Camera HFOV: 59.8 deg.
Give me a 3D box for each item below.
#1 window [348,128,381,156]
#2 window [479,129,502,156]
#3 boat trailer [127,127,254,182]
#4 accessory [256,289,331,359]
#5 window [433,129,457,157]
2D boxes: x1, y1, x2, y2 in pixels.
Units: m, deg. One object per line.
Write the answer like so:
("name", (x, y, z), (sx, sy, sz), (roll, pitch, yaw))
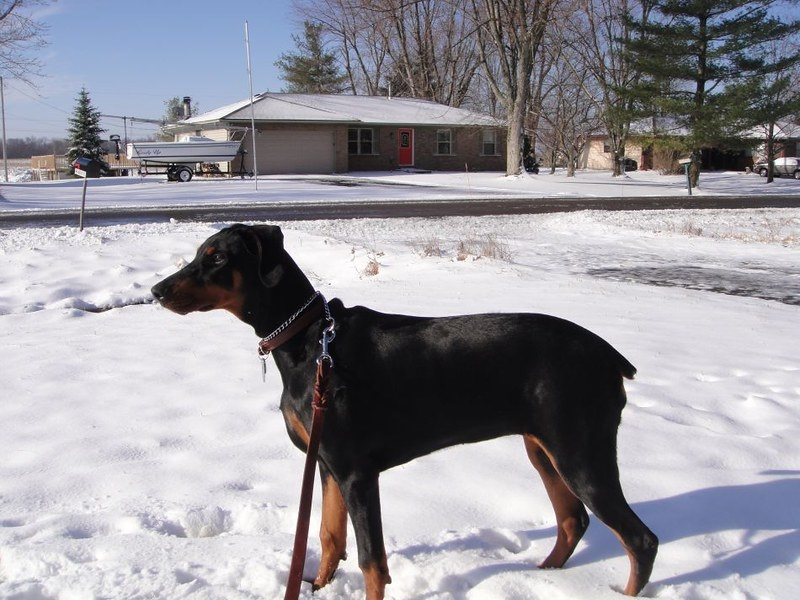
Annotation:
("window", (-2.083, -9.180, 40.052), (1.459, 1.175, 0.156), (-3, 12, -4))
("window", (5.550, -9.660, 42.406), (1.399, 1.904, 0.139), (-3, 7, -16))
("boat trailer", (-9.963, -6.780, 33.383), (3.873, 2.036, 5.806), (9, 17, 24))
("accessory", (-0.494, 0.115, 3.199), (0.314, 0.086, 0.255), (-39, 2, 13))
("window", (2.674, -9.420, 41.329), (1.389, 1.829, 0.128), (-2, 11, -9))
